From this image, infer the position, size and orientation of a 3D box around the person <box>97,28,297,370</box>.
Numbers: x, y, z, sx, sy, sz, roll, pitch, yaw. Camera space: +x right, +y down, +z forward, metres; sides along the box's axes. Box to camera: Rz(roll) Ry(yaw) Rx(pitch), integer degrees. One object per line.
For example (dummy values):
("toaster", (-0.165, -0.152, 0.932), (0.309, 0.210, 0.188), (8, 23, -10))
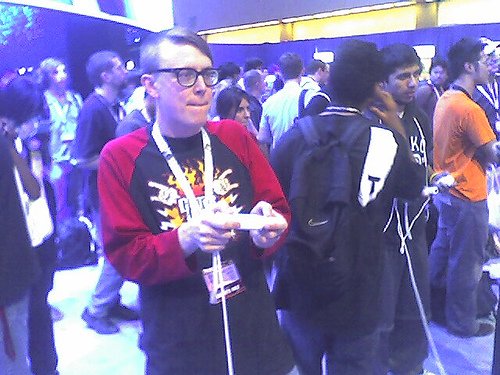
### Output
("person", (-0.238, 0.100, 2.086), (0.813, 1.579, 0.528), (-1, 14, 7))

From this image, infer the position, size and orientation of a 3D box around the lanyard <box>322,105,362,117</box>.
("lanyard", (0.522, -0.433, 2.608), (0.202, 0.060, 0.052), (2, 15, 18))

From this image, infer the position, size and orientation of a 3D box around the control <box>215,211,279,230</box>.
("control", (-0.011, 0.132, 1.896), (0.268, 0.074, 0.066), (-7, 15, -16))

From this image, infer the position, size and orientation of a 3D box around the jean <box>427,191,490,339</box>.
("jean", (1.443, 0.547, 3.231), (0.449, 1.068, 0.128), (-3, 14, -2))

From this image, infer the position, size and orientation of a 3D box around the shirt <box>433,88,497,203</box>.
("shirt", (1.379, -0.312, 2.997), (0.311, 0.634, 0.549), (-7, 17, -2))

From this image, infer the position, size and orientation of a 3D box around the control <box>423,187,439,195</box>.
("control", (1.100, 0.022, 2.833), (0.078, 0.049, 0.020), (-10, -20, -11))

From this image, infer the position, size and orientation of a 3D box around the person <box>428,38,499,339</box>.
("person", (1.441, 0.078, 3.103), (0.495, 2.066, 0.143), (-3, 14, 1))

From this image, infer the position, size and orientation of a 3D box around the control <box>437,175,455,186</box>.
("control", (1.239, -0.038, 2.931), (0.102, 0.074, 0.026), (-2, 22, -32))
